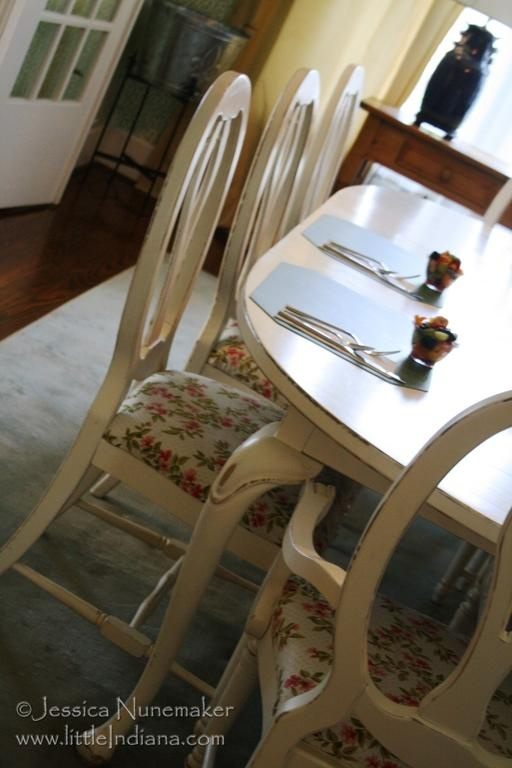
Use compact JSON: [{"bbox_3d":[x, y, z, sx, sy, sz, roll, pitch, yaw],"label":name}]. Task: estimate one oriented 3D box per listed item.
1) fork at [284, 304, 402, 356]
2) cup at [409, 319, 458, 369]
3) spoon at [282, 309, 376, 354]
[{"bbox_3d":[0.113,-0.072,0.842,0.138,0.031,0.036,22,34,-6],"label":"fork"},{"bbox_3d":[0.239,-0.057,0.895,0.067,0.064,0.069,11,15,-3],"label":"cup"},{"bbox_3d":[0.092,-0.068,0.817,0.102,0.026,0.024,28,52,5],"label":"spoon"}]
